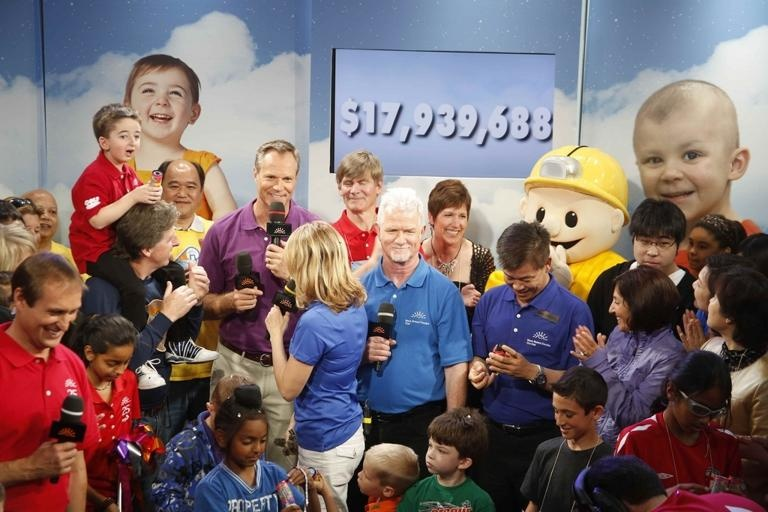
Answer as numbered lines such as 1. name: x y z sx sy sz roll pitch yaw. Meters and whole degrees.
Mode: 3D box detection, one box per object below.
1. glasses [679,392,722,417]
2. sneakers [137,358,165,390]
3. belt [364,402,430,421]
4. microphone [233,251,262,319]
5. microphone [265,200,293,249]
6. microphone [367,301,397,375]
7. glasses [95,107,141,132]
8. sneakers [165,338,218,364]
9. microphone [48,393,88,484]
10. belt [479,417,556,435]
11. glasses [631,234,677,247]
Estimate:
1. glasses: 1.779 0.834 3.817 0.250 0.145 0.041 2 5 0
2. sneakers: -1.649 0.847 4.840 0.106 0.187 0.177 5 6 39
3. belt: 0.038 1.083 4.708 0.302 0.095 0.194 -3 -9 -2
4. microphone: -0.999 0.111 5.009 0.173 0.273 0.189 -1 5 -22
5. microphone: -0.779 -0.238 5.078 0.192 0.337 0.265 1 5 -10
6. microphone: -0.013 0.442 4.650 0.191 0.248 0.136 2 5 1
7. glasses: -2.051 -1.043 5.225 0.245 0.220 0.198 -6 3 0
8. sneakers: -1.458 0.712 5.108 0.411 0.194 0.151 0 -1 -11
9. microphone: -1.739 0.900 3.785 0.208 0.267 0.092 2 5 1
10. belt: 0.990 1.200 4.791 0.255 0.078 0.259 0 -2 -1
11. glasses: 1.992 -0.109 5.044 0.291 0.077 0.119 5 6 33
